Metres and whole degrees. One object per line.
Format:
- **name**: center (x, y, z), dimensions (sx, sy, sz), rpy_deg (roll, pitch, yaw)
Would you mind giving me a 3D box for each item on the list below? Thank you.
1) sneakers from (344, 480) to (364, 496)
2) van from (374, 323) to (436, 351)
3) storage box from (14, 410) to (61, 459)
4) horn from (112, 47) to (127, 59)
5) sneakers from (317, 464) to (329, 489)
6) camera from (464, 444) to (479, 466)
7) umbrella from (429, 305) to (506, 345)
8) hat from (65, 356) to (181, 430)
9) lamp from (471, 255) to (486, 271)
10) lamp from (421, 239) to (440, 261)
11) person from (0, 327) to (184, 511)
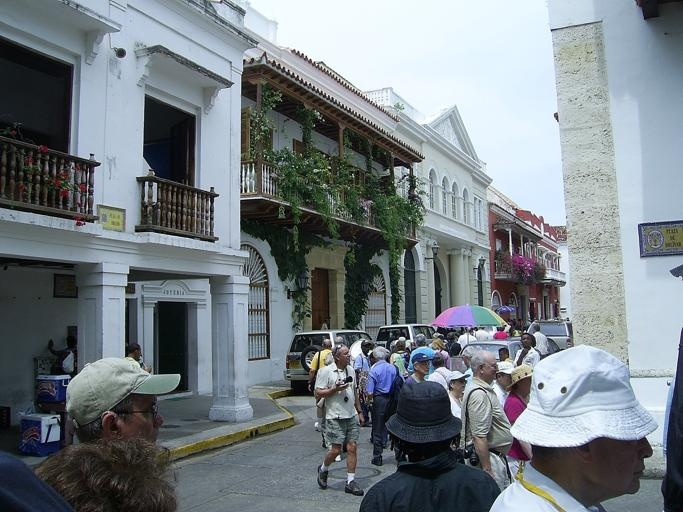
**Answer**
- **sneakers**: center (0.162, 3.169, 8.485), dimensions (0.122, 0.162, 0.344), rpy_deg (11, -22, -34)
- **van**: center (2.125, 2.365, 19.755), dimensions (1.092, 1.009, 1.726), rpy_deg (-3, 1, 36)
- **storage box**: center (-5.057, 3.015, 10.420), dimensions (0.600, 0.633, 0.583), rpy_deg (5, -16, -38)
- **horn**: center (-4.032, -3.713, 11.372), dimensions (0.126, 0.216, 0.269), rpy_deg (-1, -5, 30)
- **sneakers**: center (-0.258, 3.111, 8.761), dimensions (0.126, 0.348, 0.109), rpy_deg (-26, -34, 32)
- **camera**: center (1.286, 1.977, 6.186), dimensions (0.073, 0.202, 0.131), rpy_deg (12, -29, -37)
- **umbrella**: center (3.377, 1.748, 17.306), dimensions (1.571, 1.192, 1.616), rpy_deg (3, -10, -15)
- **hat**: center (-1.358, 0.758, 3.805), dimensions (0.551, 0.295, 0.358), rpy_deg (-10, 4, -26)
- **lamp**: center (8.111, 0.403, 36.780), dimensions (0.613, 0.581, 1.384), rpy_deg (-1, -3, 28)
- **lamp**: center (4.266, -0.364, 30.118), dimensions (0.396, 1.005, 2.283), rpy_deg (0, -4, 24)
- **person**: center (-1.397, 0.891, 3.492), dimensions (0.789, 0.467, 0.520), rpy_deg (-6, -11, -3)
